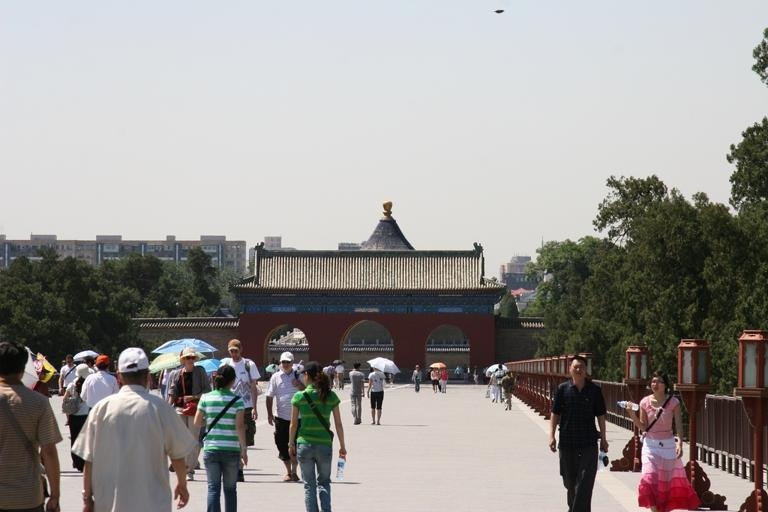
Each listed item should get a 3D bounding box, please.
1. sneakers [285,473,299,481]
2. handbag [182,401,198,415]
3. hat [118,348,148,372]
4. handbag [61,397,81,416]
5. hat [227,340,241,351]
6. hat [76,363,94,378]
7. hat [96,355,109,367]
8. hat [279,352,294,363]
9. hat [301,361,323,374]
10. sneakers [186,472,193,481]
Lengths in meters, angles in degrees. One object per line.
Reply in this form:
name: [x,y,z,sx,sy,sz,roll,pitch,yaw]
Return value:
sneakers: [-1.754,4.254,29.035,0.270,0.155,0.241,-1,-6,3]
handbag: [-3.665,2.868,28.570,0.378,0.296,0.248,-2,-6,16]
hat: [-3.876,1.628,23.438,0.463,0.393,0.286,1,-6,-10]
handbag: [-6.164,2.990,29.915,0.307,0.399,0.383,1,34,3]
hat: [-2.890,1.712,29.247,0.238,0.179,0.335,1,-6,6]
hat: [-6.195,2.353,31.172,0.352,0.136,0.325,12,37,-12]
hat: [-5.503,2.022,29.252,0.291,0.216,0.457,7,-3,-5]
hat: [-1.876,1.967,29.346,0.281,0.213,0.416,0,-5,6]
hat: [-1.233,1.933,26.246,0.272,0.141,0.198,-4,6,12]
sneakers: [-3.739,4.260,29.285,0.127,0.156,0.357,1,-6,-9]
